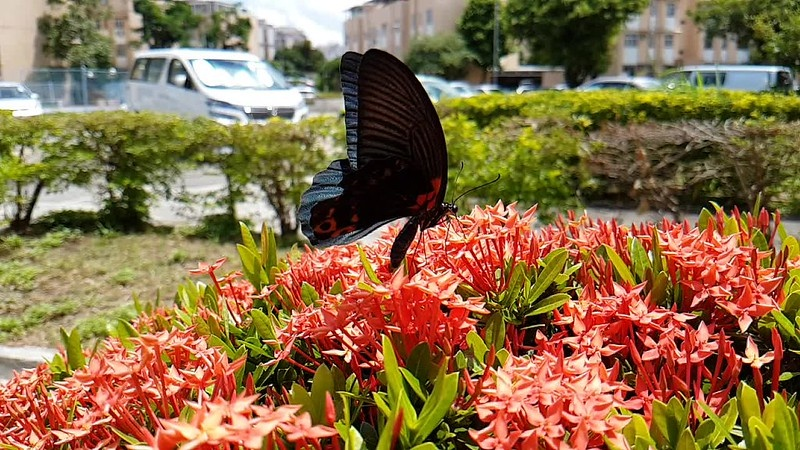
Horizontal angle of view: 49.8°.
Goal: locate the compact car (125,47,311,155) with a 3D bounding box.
[{"bbox_3d":[-5.221,-3.763,23.256,4.759,1.942,2.590,5,13,32],"label":"compact car"}]
